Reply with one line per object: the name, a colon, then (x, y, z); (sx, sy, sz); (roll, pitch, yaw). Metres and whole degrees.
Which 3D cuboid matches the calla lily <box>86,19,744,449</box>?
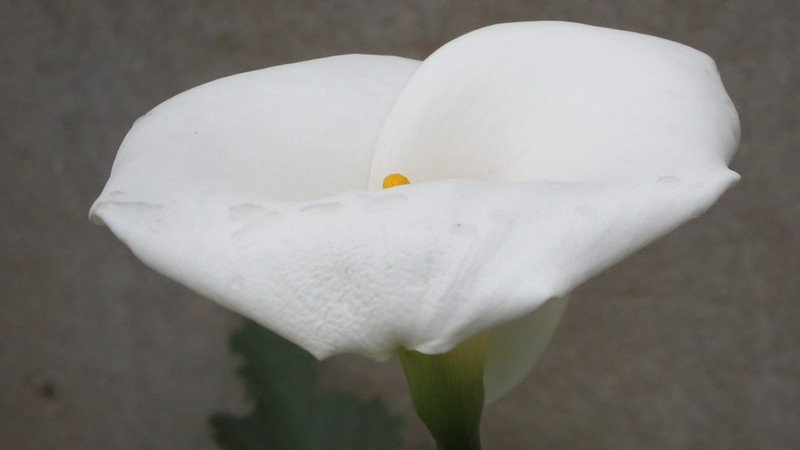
calla lily: (0.037, 0.044, 1.046); (0.544, 0.511, 0.417); (-9, 49, 2)
